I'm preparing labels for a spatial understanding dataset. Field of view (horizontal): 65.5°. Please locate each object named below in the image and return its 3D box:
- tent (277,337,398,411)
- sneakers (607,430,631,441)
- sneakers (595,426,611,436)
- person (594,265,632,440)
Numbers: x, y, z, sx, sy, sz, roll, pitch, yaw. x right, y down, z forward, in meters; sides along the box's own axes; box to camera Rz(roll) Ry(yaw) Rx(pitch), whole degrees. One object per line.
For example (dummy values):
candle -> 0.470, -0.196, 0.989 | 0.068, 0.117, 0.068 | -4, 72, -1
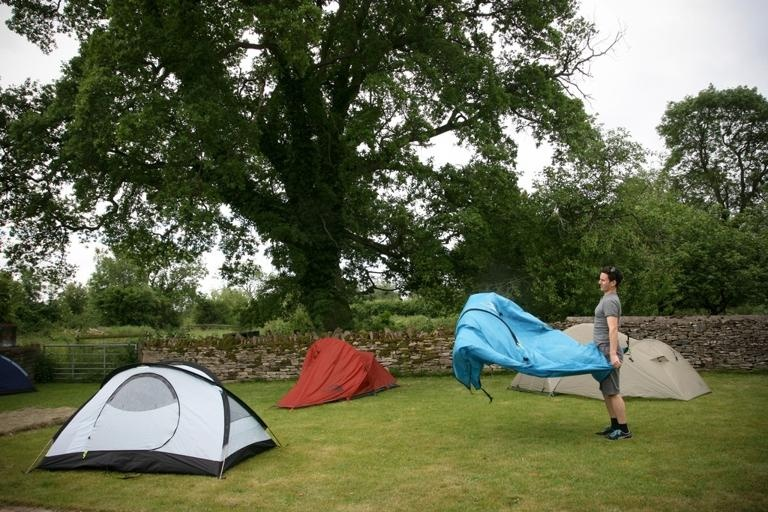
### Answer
tent -> -1.572, 3.807, 19.629 | 1.938, 1.025, 2.888 | -1, -2, 37
sneakers -> 5.836, 4.453, 14.845 | 0.582, 0.228, 0.229 | 0, -9, 5
sneakers -> 5.596, 4.436, 15.126 | 0.416, 0.166, 0.147 | -6, -9, 29
person -> 5.757, 2.399, 15.080 | 0.908, 4.198, 1.336 | 1, 11, 19
